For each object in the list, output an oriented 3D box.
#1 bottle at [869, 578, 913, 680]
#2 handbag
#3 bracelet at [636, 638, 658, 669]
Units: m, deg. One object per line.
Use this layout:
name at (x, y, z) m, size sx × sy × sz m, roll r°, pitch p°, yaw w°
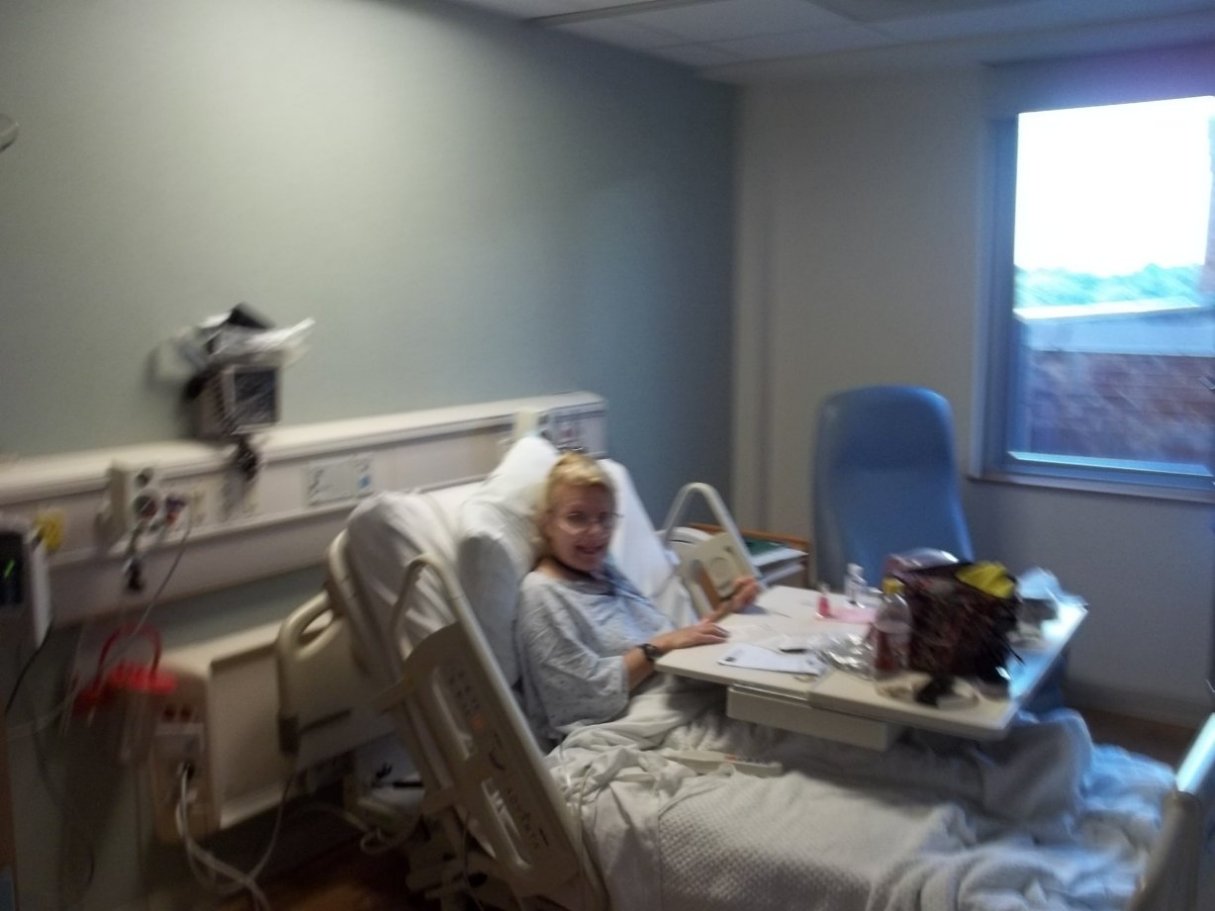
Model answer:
bottle at (0.558, 0.351, 1.797) m, size 0.053 × 0.160 × 0.091 m, roll 14°, pitch -11°, yaw -24°
handbag at (0.686, 0.292, 1.804) m, size 0.176 × 0.097 × 0.222 m, roll 3°, pitch 14°, yaw 1°
bracelet at (0.085, 0.450, 2.026) m, size 0.025 × 0.046 × 0.039 m, roll -10°, pitch 3°, yaw -20°
